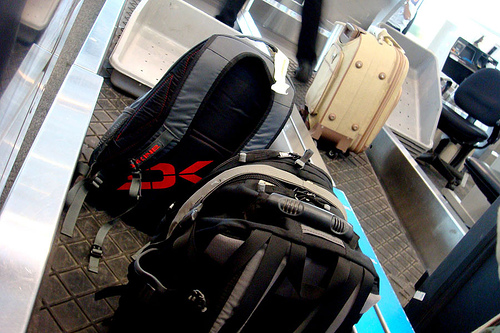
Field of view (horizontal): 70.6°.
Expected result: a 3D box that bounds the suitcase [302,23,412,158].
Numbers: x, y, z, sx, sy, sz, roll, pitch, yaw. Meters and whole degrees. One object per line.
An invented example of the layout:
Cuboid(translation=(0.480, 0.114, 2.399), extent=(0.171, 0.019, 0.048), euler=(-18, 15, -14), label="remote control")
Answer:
Cuboid(translation=(0.507, -0.344, 1.705), extent=(0.362, 0.580, 0.419), euler=(29, 14, 19), label="suitcase")
